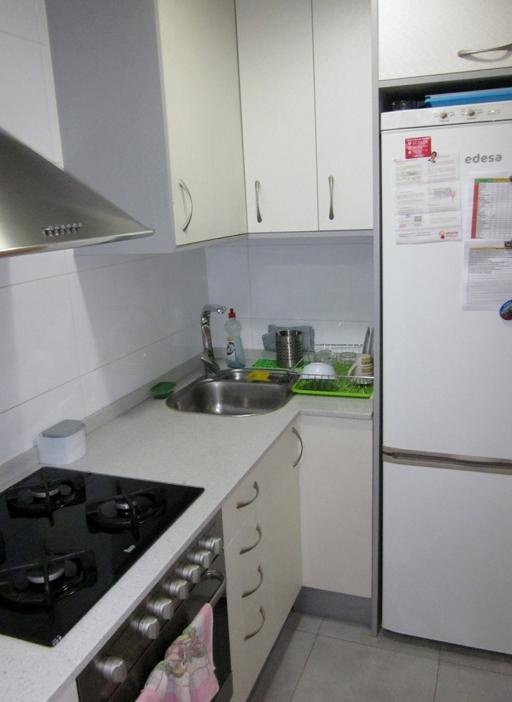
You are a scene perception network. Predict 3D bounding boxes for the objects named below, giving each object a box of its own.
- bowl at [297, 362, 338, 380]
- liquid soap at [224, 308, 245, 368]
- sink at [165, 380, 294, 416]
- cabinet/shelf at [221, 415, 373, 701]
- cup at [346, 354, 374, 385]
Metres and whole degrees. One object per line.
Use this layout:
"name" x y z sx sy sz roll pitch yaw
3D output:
"bowl" 0.252 0.075 2.053 0.141 0.056 0.111 -1 12 14
"liquid soap" -0.100 -0.069 2.379 0.091 0.255 0.259 -4 11 -4
"sink" -0.126 0.206 2.108 0.491 0.148 0.233 -7 12 -13
"cabinet/shelf" 0.139 0.661 1.683 0.347 0.711 0.723 1 15 14
"cup" 0.426 0.057 1.996 0.095 0.119 0.110 11 16 42
